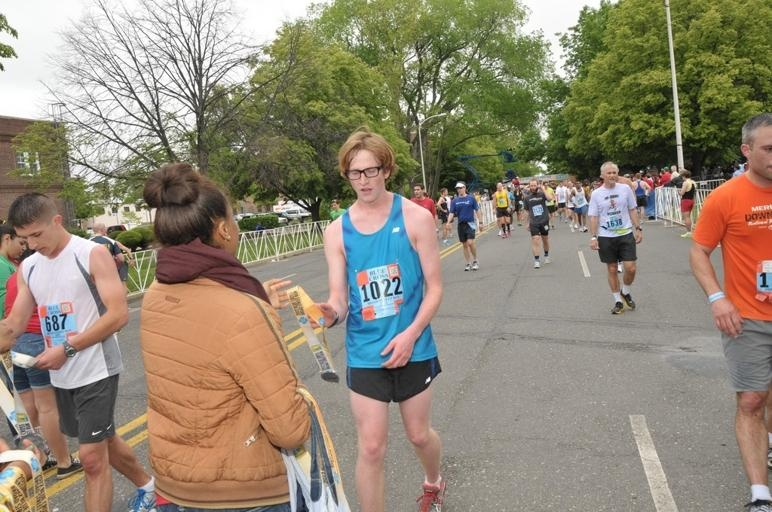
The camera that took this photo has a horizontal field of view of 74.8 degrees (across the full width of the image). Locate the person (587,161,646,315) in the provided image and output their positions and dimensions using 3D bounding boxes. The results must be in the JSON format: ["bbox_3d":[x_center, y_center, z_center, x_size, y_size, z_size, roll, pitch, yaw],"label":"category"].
[{"bbox_3d":[4.021,-0.353,8.845,0.832,2.593,0.646,-7,7,12],"label":"person"}]

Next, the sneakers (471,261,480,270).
[{"bbox_3d":[2.509,0.254,14.178,0.225,0.218,0.531,-5,8,11],"label":"sneakers"}]

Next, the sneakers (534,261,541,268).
[{"bbox_3d":[4.019,0.231,13.443,0.115,0.130,0.314,-3,-1,22],"label":"sneakers"}]

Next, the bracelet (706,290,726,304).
[{"bbox_3d":[2.373,0.295,3.642,0.096,0.073,0.100,-27,-16,35],"label":"bracelet"}]

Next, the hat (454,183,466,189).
[{"bbox_3d":[2.072,-1.990,14.068,0.322,0.166,0.496,-2,5,22],"label":"hat"}]

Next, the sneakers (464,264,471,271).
[{"bbox_3d":[2.313,0.283,14.194,0.217,0.170,0.569,-6,8,9],"label":"sneakers"}]

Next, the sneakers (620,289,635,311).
[{"bbox_3d":[4.254,0.785,8.794,0.141,0.163,0.395,-3,46,-13],"label":"sneakers"}]

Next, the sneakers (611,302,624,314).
[{"bbox_3d":[3.919,0.878,8.541,0.121,0.163,0.349,-5,3,36],"label":"sneakers"}]

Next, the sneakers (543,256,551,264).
[{"bbox_3d":[4.540,0.111,14.211,0.123,0.190,0.434,-4,-2,14],"label":"sneakers"}]

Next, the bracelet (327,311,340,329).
[{"bbox_3d":[-0.328,0.402,3.181,0.076,0.084,0.060,5,12,-43],"label":"bracelet"}]
